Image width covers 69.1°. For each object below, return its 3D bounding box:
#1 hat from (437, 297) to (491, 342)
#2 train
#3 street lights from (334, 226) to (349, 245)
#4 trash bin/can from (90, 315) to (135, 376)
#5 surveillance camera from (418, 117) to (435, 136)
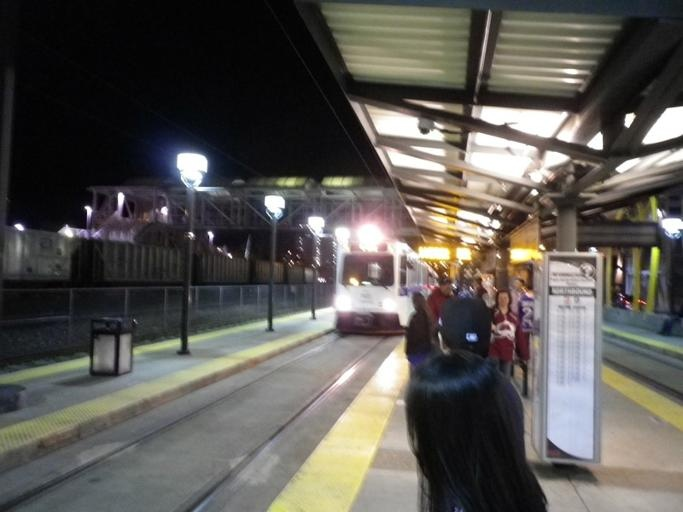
[{"bbox_3d":[1.975,1.017,7.942,0.525,0.670,0.769,2,3,42],"label":"hat"},{"bbox_3d":[1.370,1.116,17.437,3.037,3.327,10.157,-1,-3,11],"label":"train"},{"bbox_3d":[0.029,-0.756,18.924,0.489,0.580,0.578,-3,10,-12],"label":"street lights"},{"bbox_3d":[-4.587,1.815,9.979,0.826,1.146,0.652,0,-3,-30],"label":"trash bin/can"},{"bbox_3d":[1.517,-2.303,8.843,0.305,0.203,0.442,-2,-3,11],"label":"surveillance camera"}]
